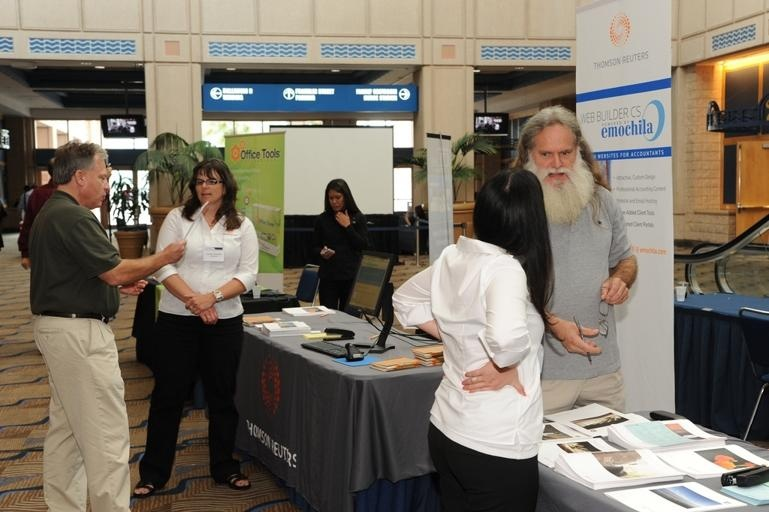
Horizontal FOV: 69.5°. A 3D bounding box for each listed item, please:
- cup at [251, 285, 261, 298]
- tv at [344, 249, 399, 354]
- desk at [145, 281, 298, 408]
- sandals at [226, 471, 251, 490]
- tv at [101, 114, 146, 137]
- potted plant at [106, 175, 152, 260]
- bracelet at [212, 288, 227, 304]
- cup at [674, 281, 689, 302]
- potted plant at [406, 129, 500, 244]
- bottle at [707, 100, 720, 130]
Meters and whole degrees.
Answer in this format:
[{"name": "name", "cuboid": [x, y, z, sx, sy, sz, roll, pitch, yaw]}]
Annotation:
[{"name": "cup", "cuboid": [-1.187, 0.351, 5.233, 0.105, 0.105, 0.085, 0, 5, -11]}, {"name": "tv", "cuboid": [-0.051, 0.289, 3.656, 0.261, 0.648, 0.447, 4, 2, -33]}, {"name": "desk", "cuboid": [-1.634, 0.774, 5.413, 1.175, 0.885, 1.162, 0, -1, -38]}, {"name": "sandals", "cuboid": [-0.957, 1.502, 3.673, 0.083, 0.061, 0.145, 3, -8, -25]}, {"name": "tv", "cuboid": [-7.342, -3.714, 15.713, 1.037, 0.633, 1.261, -5, 10, -31]}, {"name": "potted plant", "cuboid": [-5.975, -1.018, 13.194, 0.921, 1.691, 0.942, -1, 12, 27]}, {"name": "bracelet", "cuboid": [-1.030, 0.252, 3.495, 0.065, 0.103, 0.095, 3, -6, -25]}, {"name": "cup", "cuboid": [2.531, 0.317, 4.749, 0.113, 0.154, 0.130, -3, 6, -16]}, {"name": "potted plant", "cuboid": [1.352, -1.749, 11.804, 1.581, 1.399, 1.535, -28, 32, -33]}, {"name": "bottle", "cuboid": [7.417, -3.174, 12.540, 0.269, 0.677, 0.390, 4, 9, 25]}]
